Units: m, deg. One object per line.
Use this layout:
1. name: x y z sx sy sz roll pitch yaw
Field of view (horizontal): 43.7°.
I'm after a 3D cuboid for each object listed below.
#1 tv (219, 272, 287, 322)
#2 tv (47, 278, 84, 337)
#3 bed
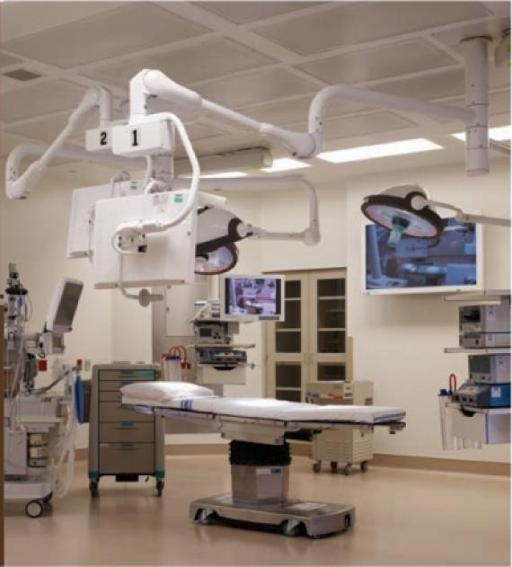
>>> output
1. tv: -0.060 0.145 6.851 0.975 0.543 0.471 0 -3 -7
2. tv: -1.486 0.169 4.902 0.178 0.415 0.325 -1 -7 7
3. bed: 0.065 1.203 4.369 2.129 0.850 0.682 -5 -16 30
